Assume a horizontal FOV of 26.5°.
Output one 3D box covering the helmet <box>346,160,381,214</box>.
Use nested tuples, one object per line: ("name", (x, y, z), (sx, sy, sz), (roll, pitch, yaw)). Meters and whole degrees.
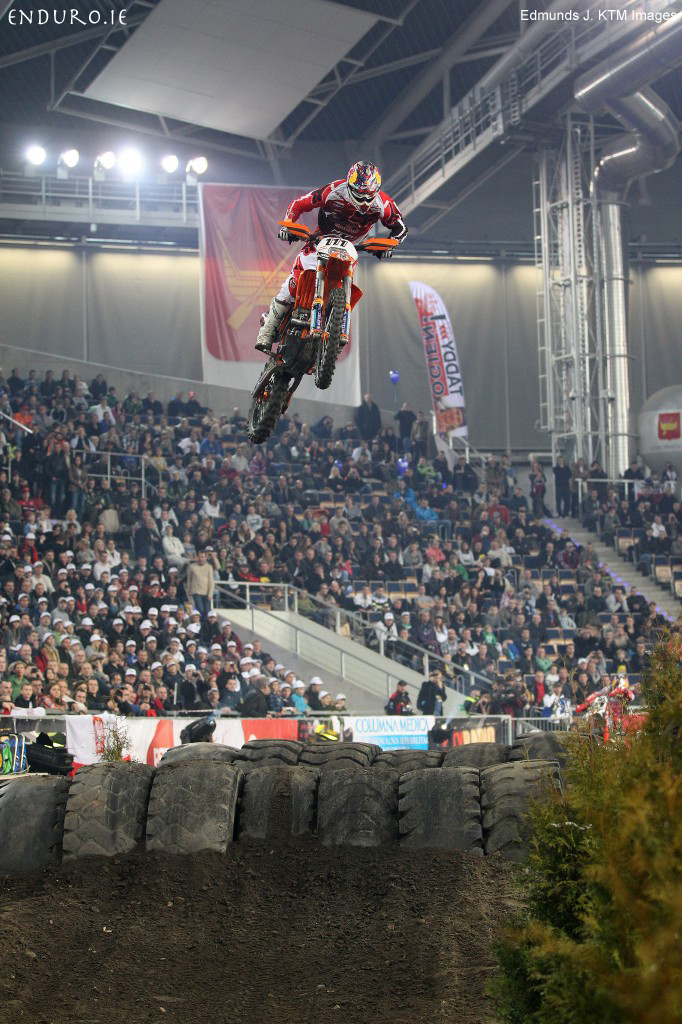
("helmet", (0.163, -2.552, 11.164), (0.278, 0.346, 0.341), (-1, -24, -5))

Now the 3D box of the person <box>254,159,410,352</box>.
("person", (-0.080, -2.042, 11.681), (1.255, 1.454, 1.167), (-3, 8, 0))

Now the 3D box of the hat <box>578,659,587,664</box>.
("hat", (3.413, 2.117, 20.503), (0.068, 0.096, 0.098), (-4, 8, 1))

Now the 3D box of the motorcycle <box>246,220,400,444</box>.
("motorcycle", (-0.505, -1.511, 11.963), (0.927, 1.176, 2.040), (18, -30, -10))

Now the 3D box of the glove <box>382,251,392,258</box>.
("glove", (0.377, -2.100, 11.835), (0.050, 0.044, 0.080), (1, 1, -3))
